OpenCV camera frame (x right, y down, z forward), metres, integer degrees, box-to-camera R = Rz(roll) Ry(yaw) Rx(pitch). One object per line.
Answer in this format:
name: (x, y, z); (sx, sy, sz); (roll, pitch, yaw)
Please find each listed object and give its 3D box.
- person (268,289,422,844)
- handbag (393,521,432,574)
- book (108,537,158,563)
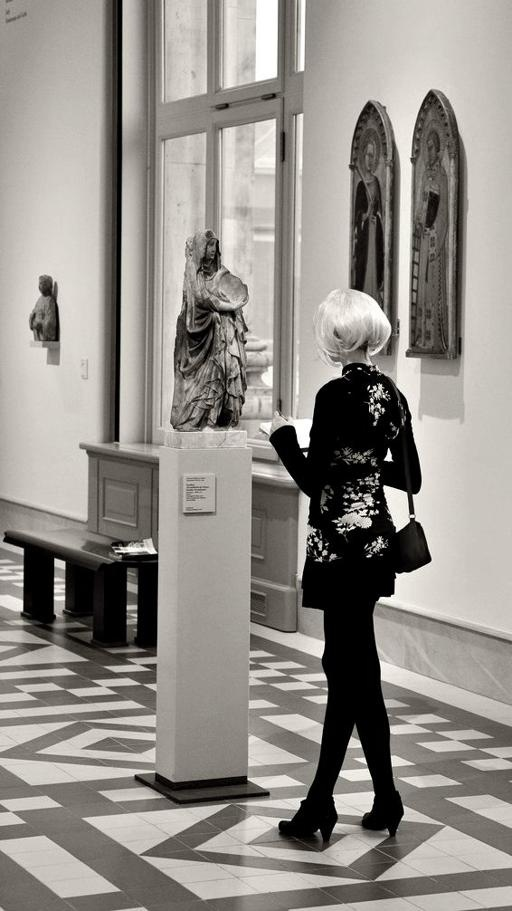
person: (0.214, 0.296, 2.423); (0.298, 1.381, 0.363); (4, 5, 39)
handbag: (0.371, 0.212, 2.338); (0.082, 0.142, 0.137); (3, 4, 26)
book: (-0.641, 0.494, 5.185); (0.231, 0.053, 0.377); (1, 5, -10)
